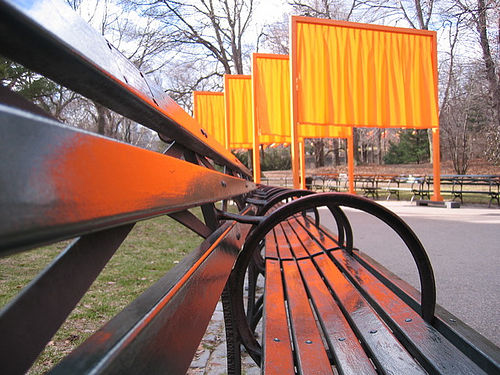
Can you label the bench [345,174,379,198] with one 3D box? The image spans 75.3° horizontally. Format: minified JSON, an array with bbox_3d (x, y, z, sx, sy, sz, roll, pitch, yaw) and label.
[{"bbox_3d":[5.375,-0.061,14.326,0.778,1.068,2.539,4,-1,22],"label":"bench"}]
